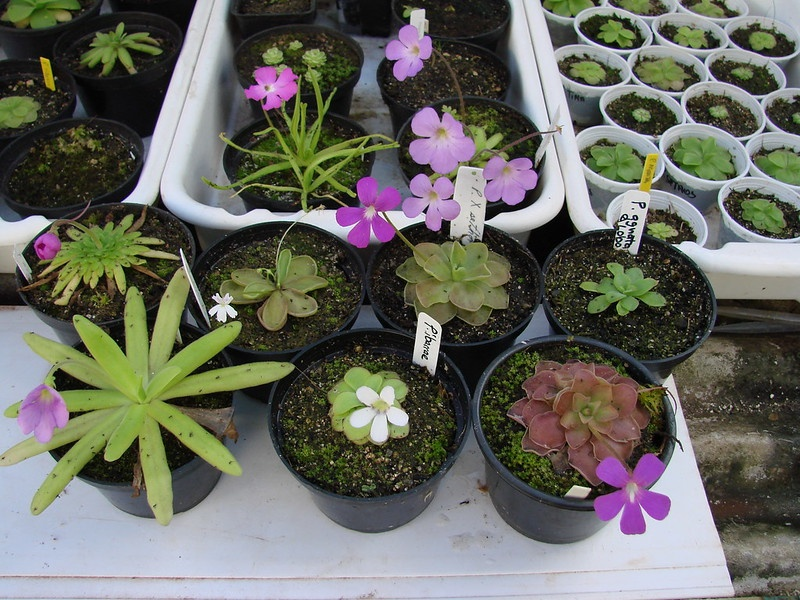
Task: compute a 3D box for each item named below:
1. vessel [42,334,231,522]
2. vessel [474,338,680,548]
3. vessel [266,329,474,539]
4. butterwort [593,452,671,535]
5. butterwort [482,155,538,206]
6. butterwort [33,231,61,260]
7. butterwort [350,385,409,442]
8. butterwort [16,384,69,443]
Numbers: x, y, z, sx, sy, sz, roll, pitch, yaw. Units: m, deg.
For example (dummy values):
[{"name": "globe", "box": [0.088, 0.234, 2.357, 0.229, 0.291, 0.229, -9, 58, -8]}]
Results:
[{"name": "vessel", "box": [-0.784, 0.338, 2.202, 0.488, 0.412, 0.571, -4, 56, -5]}, {"name": "vessel", "box": [0.500, 0.471, 2.217, 0.576, 0.477, 0.626, 6, 54, 7]}, {"name": "vessel", "box": [-0.092, 0.393, 2.161, 0.577, 0.295, 0.564, 29, 66, 14]}, {"name": "butterwort", "box": [0.599, 0.516, 1.826, 0.189, 0.143, 0.177, -2, 62, -1]}, {"name": "butterwort", "box": [0.337, -0.372, 2.146, 0.142, 0.052, 0.164, -7, 101, -3]}, {"name": "butterwort", "box": [-1.123, -0.167, 2.216, 0.066, 0.074, 0.097, -2, 55, -13]}, {"name": "butterwort", "box": [-0.074, 0.338, 2.035, 0.159, 0.123, 0.158, -27, 65, -13]}, {"name": "butterwort", "box": [-0.911, 0.291, 1.774, 0.130, 0.072, 0.141, -15, 73, -5]}]
